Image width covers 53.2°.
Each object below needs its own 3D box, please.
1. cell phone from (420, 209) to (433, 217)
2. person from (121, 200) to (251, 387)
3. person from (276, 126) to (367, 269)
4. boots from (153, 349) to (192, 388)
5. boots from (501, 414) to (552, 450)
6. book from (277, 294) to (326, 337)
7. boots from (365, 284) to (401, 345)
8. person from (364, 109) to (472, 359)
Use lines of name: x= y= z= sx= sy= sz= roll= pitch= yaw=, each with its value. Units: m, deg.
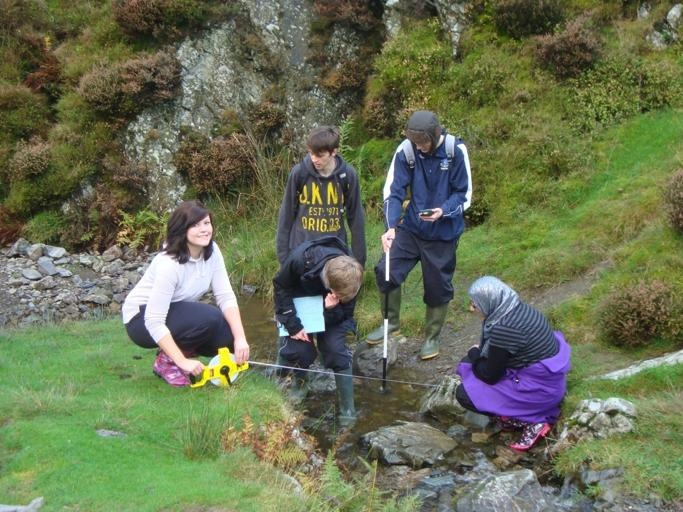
cell phone: x=0.987 y=-0.522 z=8.115 sx=0.143 sy=0.082 sz=0.279 roll=-2 pitch=8 yaw=-1
person: x=-1.670 y=0.412 z=7.215 sx=1.167 sy=1.974 sz=0.874 roll=-5 pitch=8 yaw=-22
person: x=-0.288 y=-0.700 z=8.038 sx=0.872 sy=1.808 sz=0.855 roll=-7 pitch=18 yaw=-26
boots: x=-1.800 y=1.199 z=7.283 sx=0.491 sy=0.360 sz=0.165 roll=27 pitch=28 yaw=27
boots: x=1.962 y=1.905 z=7.221 sx=0.469 sy=0.181 sz=0.314 roll=-30 pitch=45 yaw=-23
book: x=-0.347 y=0.621 z=7.316 sx=0.412 sy=0.439 sz=0.104 roll=-6 pitch=-10 yaw=2
boots: x=0.538 y=0.761 z=8.803 sx=0.394 sy=0.792 sz=0.419 roll=3 pitch=11 yaw=20
person: x=0.979 y=-0.286 z=8.353 sx=0.996 sy=2.961 sz=1.143 roll=2 pitch=8 yaw=5
